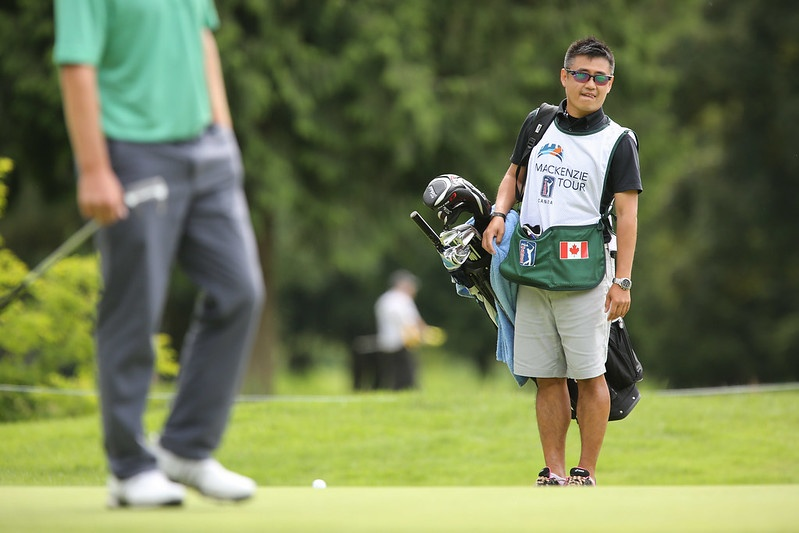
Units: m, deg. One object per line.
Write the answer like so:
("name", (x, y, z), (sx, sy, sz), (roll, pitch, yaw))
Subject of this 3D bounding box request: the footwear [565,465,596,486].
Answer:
("footwear", (0.967, 1.111, 5.874), (0.088, 0.085, 0.185), (0, -15, 11))

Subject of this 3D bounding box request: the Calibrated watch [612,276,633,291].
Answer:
("Calibrated watch", (1.205, 0.087, 5.957), (0.096, 0.071, 0.118), (0, 1, 8))

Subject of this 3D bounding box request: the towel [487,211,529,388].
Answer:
("towel", (0.582, 0.171, 6.118), (0.212, 0.960, 0.185), (1, 1, -26))

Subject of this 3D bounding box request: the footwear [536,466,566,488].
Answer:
("footwear", (0.802, 1.122, 5.881), (0.089, 0.093, 0.205), (-10, -14, 31))

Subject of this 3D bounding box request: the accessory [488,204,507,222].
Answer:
("accessory", (0.549, -0.300, 6.149), (0.089, 0.052, 0.065), (9, 13, -2))

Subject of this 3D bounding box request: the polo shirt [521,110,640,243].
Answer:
("polo shirt", (0.977, -0.525, 5.960), (0.638, 0.664, 0.115), (0, 1, 8))

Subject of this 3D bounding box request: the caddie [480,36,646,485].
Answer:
("caddie", (0.877, -0.028, 6.047), (0.869, 2.432, 0.676), (1, -2, 22))
